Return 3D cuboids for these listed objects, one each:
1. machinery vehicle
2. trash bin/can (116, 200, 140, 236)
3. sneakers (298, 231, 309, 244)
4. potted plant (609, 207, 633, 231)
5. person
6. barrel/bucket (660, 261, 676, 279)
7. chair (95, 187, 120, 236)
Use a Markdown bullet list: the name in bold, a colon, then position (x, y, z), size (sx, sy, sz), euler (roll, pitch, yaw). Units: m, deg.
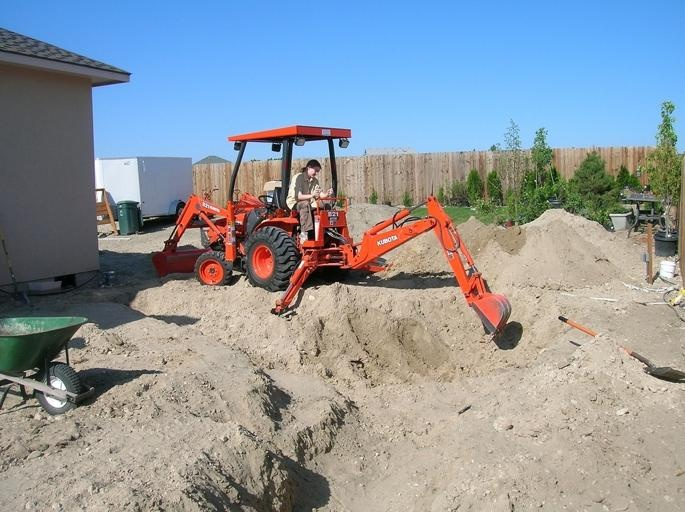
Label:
- **machinery vehicle**: position (-0.416, -0.526, 9.433), size (5.974, 2.651, 3.180), euler (8, 11, 33)
- **trash bin/can**: position (-7.737, -1.411, 18.303), size (0.779, 1.162, 0.865), euler (-7, 10, -26)
- **sneakers**: position (-0.649, -0.311, 8.566), size (0.133, 0.200, 0.060), euler (2, -10, 12)
- **potted plant**: position (7.864, -0.986, 14.222), size (0.560, 0.585, 0.706), euler (1, 6, 34)
- **person**: position (-0.553, -0.961, 8.830), size (0.653, 1.381, 0.665), euler (-6, 15, -40)
- **barrel/bucket**: position (5.849, 0.235, 9.105), size (0.293, 0.303, 0.295), euler (1, 5, 0)
- **chair**: position (-8.598, -1.673, 18.543), size (0.663, 1.555, 1.985), euler (-2, 13, -24)
